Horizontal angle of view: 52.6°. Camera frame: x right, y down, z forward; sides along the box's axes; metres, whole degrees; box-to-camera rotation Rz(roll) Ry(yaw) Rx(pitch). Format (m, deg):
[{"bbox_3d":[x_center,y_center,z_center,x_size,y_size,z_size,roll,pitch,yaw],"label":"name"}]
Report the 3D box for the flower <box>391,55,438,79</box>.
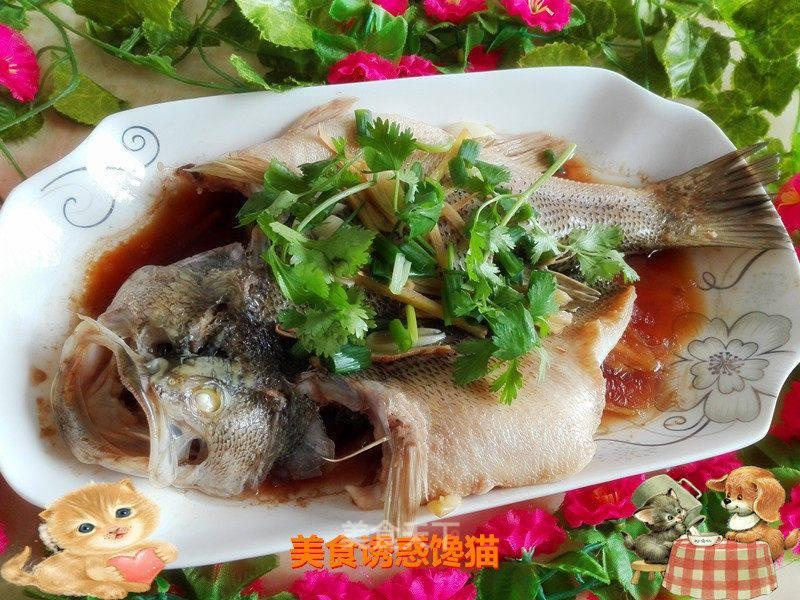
[{"bbox_3d":[0.046,-0.765,2.653,0.105,0.045,0.098,17,51,37],"label":"flower"}]
